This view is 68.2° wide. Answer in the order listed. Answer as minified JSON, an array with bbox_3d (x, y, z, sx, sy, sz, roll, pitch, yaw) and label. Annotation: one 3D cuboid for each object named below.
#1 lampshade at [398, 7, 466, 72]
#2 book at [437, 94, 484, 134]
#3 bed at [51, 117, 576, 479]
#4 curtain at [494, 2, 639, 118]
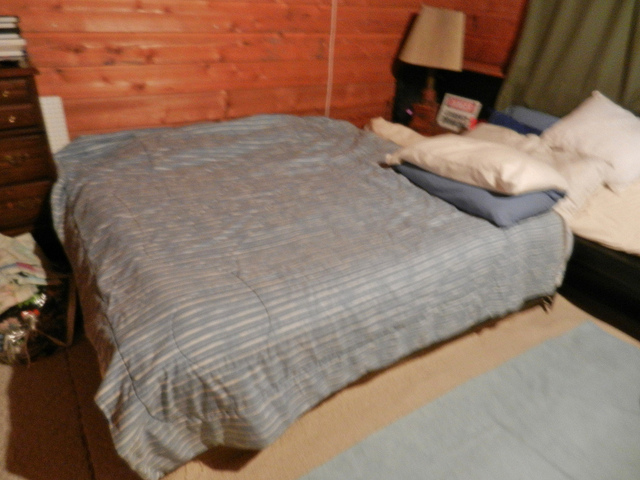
[{"bbox_3d":[0.796,-1.411,3.413,0.473,0.424,0.442,15,29,17],"label":"lampshade"},{"bbox_3d":[1.017,-0.920,3.432,0.361,0.287,0.081,19,-8,32],"label":"book"},{"bbox_3d":[-0.205,-0.020,2.355,2.204,0.806,1.719,-21,41,-29],"label":"bed"},{"bbox_3d":[1.616,-1.096,2.955,0.905,0.730,0.260,31,49,32],"label":"curtain"}]
